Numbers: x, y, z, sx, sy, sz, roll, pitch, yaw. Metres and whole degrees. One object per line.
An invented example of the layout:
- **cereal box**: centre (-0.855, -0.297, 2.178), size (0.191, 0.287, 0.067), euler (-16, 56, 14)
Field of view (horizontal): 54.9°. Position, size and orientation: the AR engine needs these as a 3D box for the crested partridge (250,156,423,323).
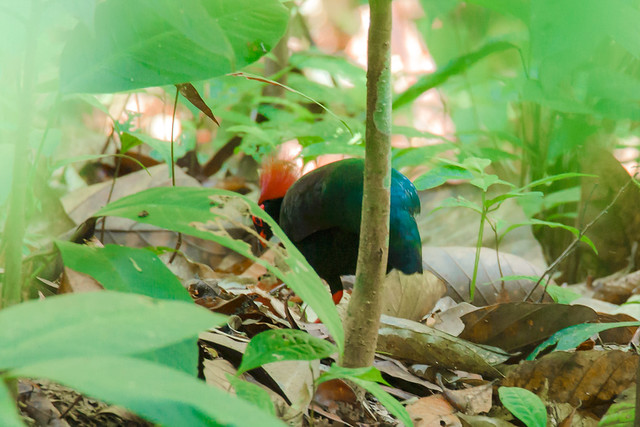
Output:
- **crested partridge**: centre (0.048, 0.022, 1.832), size (0.285, 0.400, 0.745), euler (-5, 15, -31)
